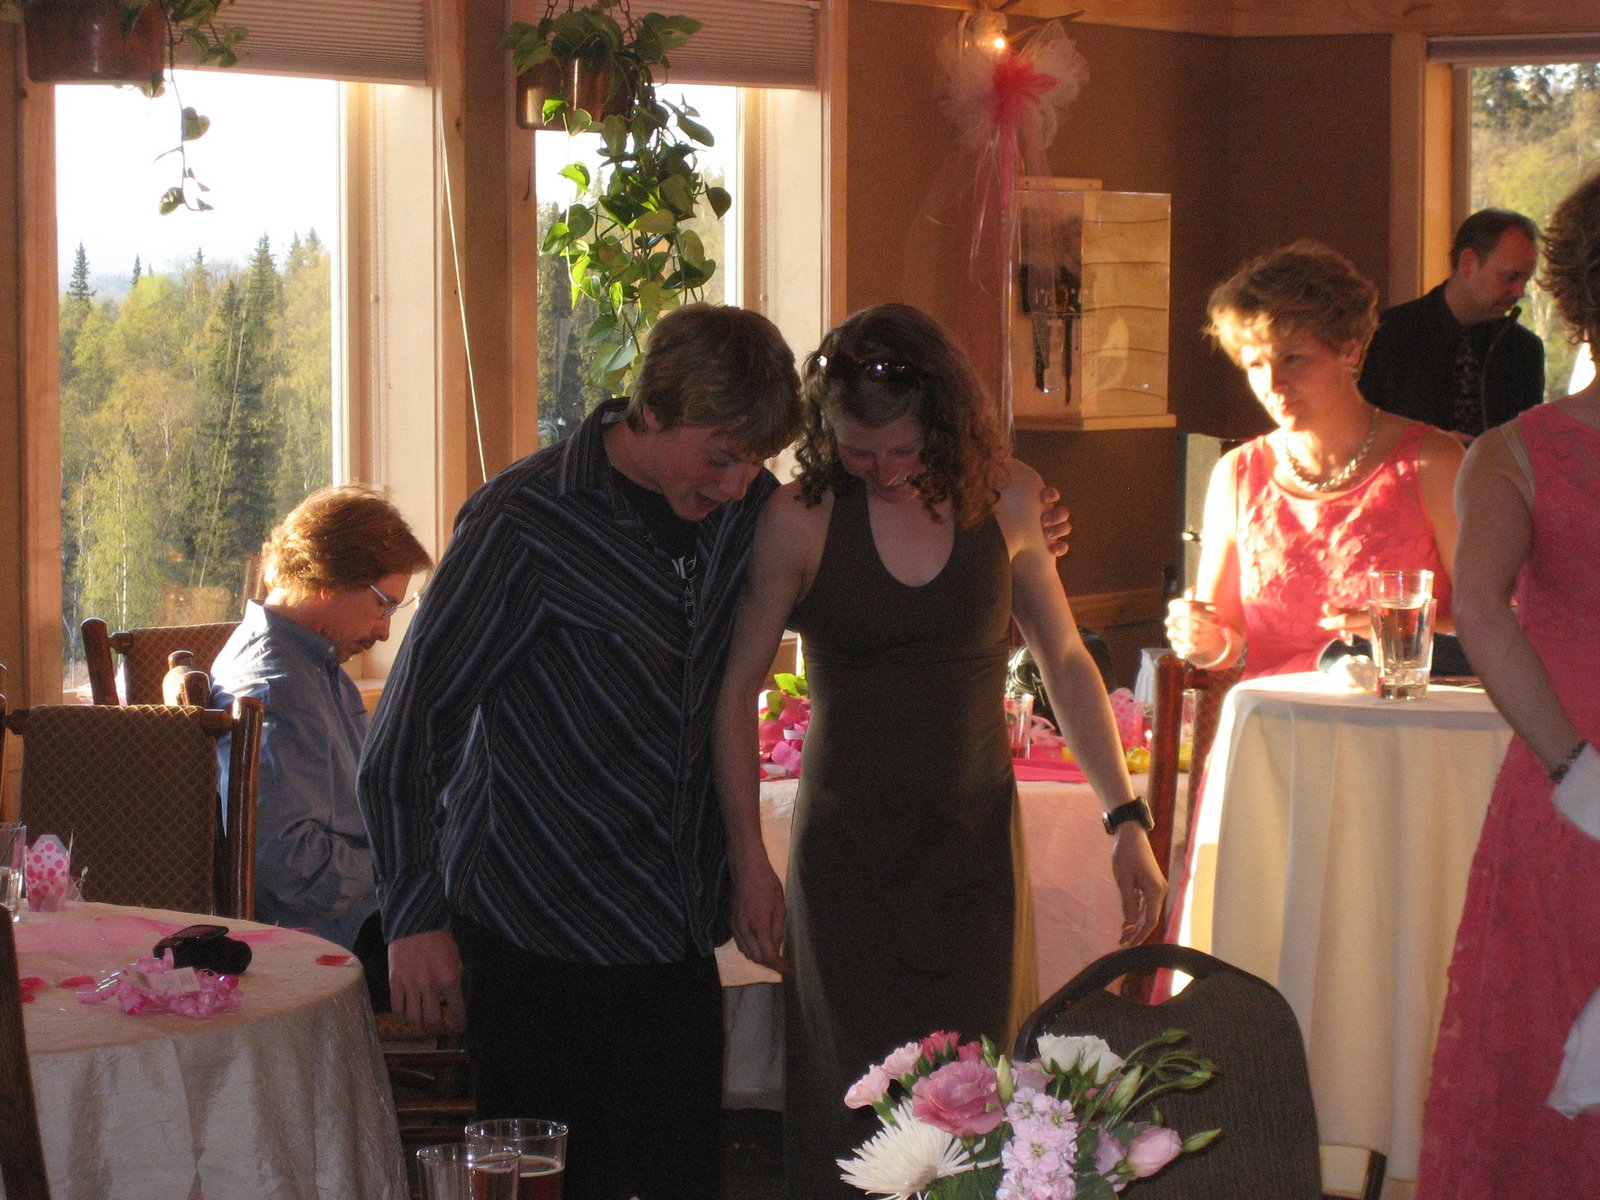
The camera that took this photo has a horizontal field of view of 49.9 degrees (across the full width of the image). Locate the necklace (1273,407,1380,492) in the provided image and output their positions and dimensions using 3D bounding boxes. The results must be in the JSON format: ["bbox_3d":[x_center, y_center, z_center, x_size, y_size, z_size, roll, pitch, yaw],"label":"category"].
[{"bbox_3d":[1.045,-0.287,3.457,0.114,0.154,0.035,-9,-26,6],"label":"necklace"}]

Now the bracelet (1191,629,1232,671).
[{"bbox_3d":[0.843,0.097,3.490,0.051,0.071,0.070,5,-21,-45],"label":"bracelet"}]

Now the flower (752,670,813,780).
[{"bbox_3d":[-0.029,0.281,3.951,0.186,0.149,0.188,20,32,40],"label":"flower"}]

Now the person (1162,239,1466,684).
[{"bbox_3d":[1.059,-0.249,3.461,0.574,0.910,0.526,1,14,42],"label":"person"}]

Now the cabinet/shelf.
[{"bbox_3d":[0.895,-0.963,5.854,0.614,0.988,0.662,-2,6,-14],"label":"cabinet/shelf"}]

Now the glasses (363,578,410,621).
[{"bbox_3d":[-0.914,-0.007,3.745,0.023,0.082,0.073,-11,-17,18],"label":"glasses"}]

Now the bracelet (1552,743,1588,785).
[{"bbox_3d":[1.069,0.225,2.385,0.011,0.043,0.040,39,1,5],"label":"bracelet"}]

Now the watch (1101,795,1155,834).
[{"bbox_3d":[0.560,0.373,2.923,0.075,0.062,0.082,5,-24,-34],"label":"watch"}]
